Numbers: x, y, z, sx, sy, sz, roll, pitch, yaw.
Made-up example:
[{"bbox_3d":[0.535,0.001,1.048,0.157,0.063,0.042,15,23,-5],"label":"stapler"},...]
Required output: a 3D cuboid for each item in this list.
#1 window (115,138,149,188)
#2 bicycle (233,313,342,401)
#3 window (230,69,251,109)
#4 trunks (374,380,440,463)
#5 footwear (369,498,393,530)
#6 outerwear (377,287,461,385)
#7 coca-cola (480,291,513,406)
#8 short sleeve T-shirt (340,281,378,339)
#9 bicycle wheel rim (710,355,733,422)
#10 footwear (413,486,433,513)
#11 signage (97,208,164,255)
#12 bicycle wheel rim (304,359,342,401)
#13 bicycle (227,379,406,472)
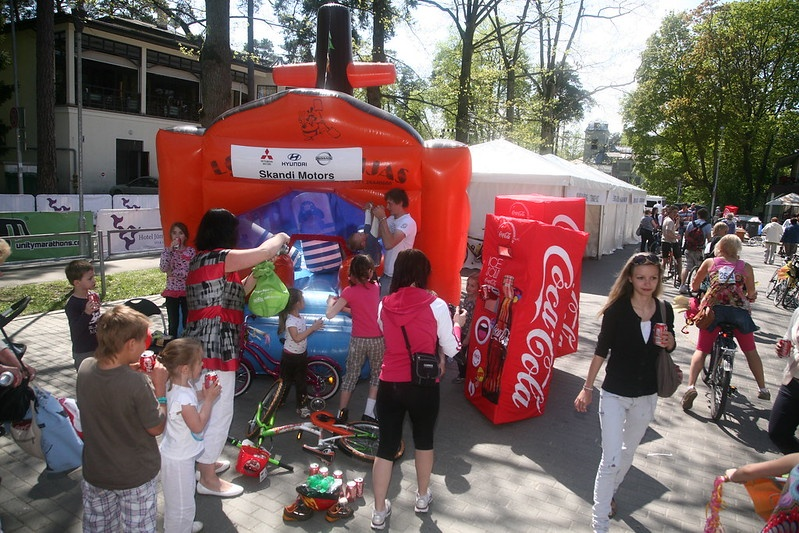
[{"bbox_3d":[-14.990,-5.839,28.545,0.427,2.348,2.055,6,15,22],"label":"window"},{"bbox_3d":[-1.500,1.277,7.330,1.540,1.004,0.840,7,6,8],"label":"bicycle"},{"bbox_3d":[-11.178,-12.385,35.624,0.928,2.354,3.830,-3,14,-17],"label":"window"},{"bbox_3d":[0.076,1.524,5.077,0.594,0.797,0.269,0,14,-5],"label":"trunks"},{"bbox_3d":[-0.198,2.538,5.210,0.122,0.152,0.335,1,11,6],"label":"footwear"},{"bbox_3d":[0.173,0.613,5.327,0.882,1.098,0.833,2,2,19],"label":"outerwear"},{"bbox_3d":[1.306,1.105,6.777,0.249,1.421,0.371,-7,16,-29],"label":"coca-cola"},{"bbox_3d":[-0.499,0.562,6.413,0.698,0.734,0.405,-2,5,-9],"label":"short sleeve T-shirt"},{"bbox_3d":[4.593,1.738,7.337,0.191,0.890,0.672,8,15,27],"label":"bicycle wheel rim"},{"bbox_3d":[0.243,2.465,5.400,0.112,0.139,0.291,0,5,7],"label":"footwear"},{"bbox_3d":[-8.042,-0.993,15.164,0.169,1.137,1.725,-7,-1,21],"label":"signage"},{"bbox_3d":[-1.047,1.528,7.197,0.524,0.548,0.530,-4,4,-5],"label":"bicycle wheel rim"},{"bbox_3d":[-0.897,2.017,6.238,1.851,1.017,1.202,7,11,9],"label":"bicycle"}]
